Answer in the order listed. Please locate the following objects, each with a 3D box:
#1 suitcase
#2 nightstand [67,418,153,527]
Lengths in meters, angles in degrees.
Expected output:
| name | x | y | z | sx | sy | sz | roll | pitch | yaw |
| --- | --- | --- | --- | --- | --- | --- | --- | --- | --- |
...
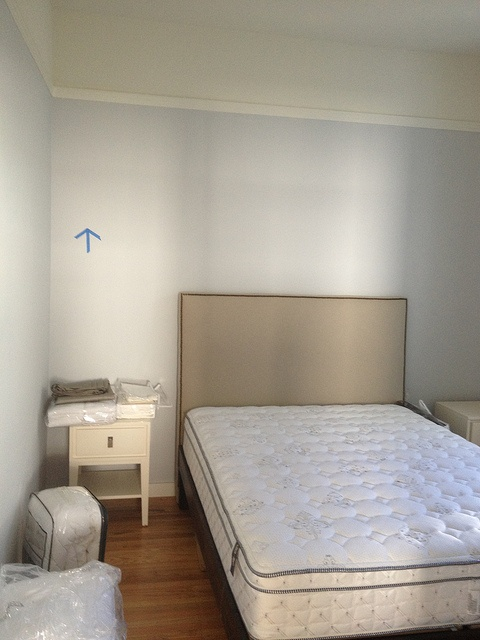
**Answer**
| name | x | y | z | sx | sy | sz | roll | pitch | yaw |
| --- | --- | --- | --- | --- | --- | --- | --- | --- | --- |
| suitcase | -0.694 | 0.832 | 2.039 | 0.285 | 0.263 | 0.267 | 0 | 6 | -31 |
| nightstand | -0.674 | 0.669 | 2.707 | 0.419 | 0.613 | 0.385 | 1 | 2 | -14 |
